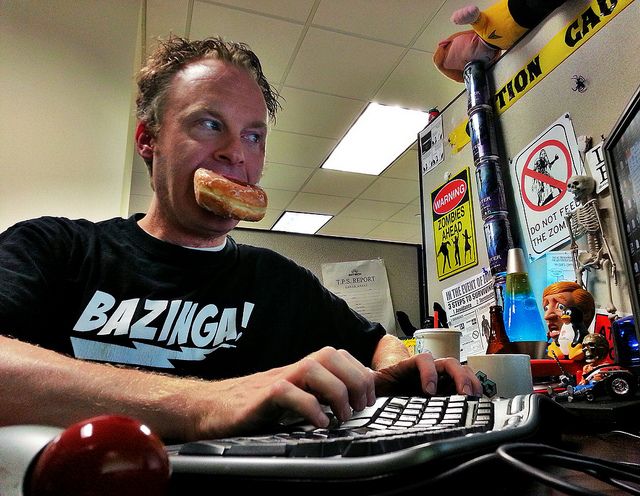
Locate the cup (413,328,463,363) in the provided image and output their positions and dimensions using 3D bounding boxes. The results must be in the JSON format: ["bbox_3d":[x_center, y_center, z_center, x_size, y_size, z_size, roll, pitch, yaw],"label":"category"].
[{"bbox_3d":[0.254,0.222,1.052,0.094,0.072,0.094,4,-14,1],"label":"cup"}]

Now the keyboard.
[{"bbox_3d":[0.075,0.204,0.548,0.466,0.067,0.217,15,-23,-41],"label":"keyboard"}]

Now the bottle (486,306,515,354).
[{"bbox_3d":[0.393,0.185,1.065,0.056,0.111,0.195,-7,-18,20],"label":"bottle"}]

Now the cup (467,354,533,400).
[{"bbox_3d":[0.309,0.228,0.833,0.080,0.060,0.078,1,-18,0],"label":"cup"}]

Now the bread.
[{"bbox_3d":[-0.190,-0.107,1.023,0.120,0.047,0.127,23,3,0],"label":"bread"}]

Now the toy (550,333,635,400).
[{"bbox_3d":[0.517,0.215,0.889,0.119,0.102,0.116,5,-24,-8],"label":"toy"}]

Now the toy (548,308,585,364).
[{"bbox_3d":[0.569,0.193,1.093,0.068,0.119,0.107,1,-8,-5],"label":"toy"}]
